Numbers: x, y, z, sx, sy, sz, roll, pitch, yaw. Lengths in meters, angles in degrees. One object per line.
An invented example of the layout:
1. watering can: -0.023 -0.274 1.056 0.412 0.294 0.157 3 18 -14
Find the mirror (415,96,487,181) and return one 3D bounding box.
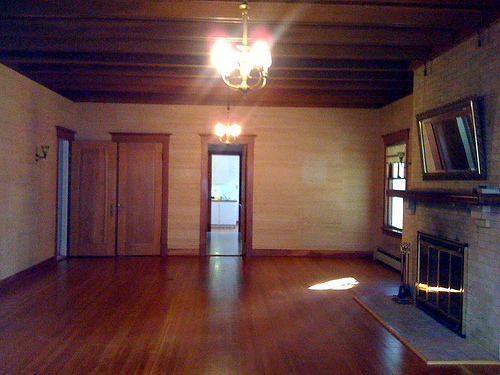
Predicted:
1. mirror: 2.728 -0.621 5.340 0.079 1.091 1.094 -8 1 -19
